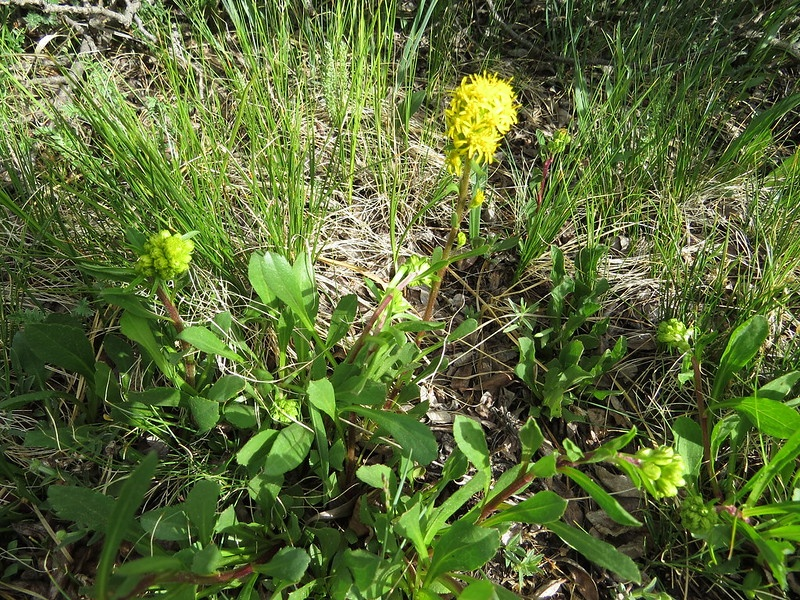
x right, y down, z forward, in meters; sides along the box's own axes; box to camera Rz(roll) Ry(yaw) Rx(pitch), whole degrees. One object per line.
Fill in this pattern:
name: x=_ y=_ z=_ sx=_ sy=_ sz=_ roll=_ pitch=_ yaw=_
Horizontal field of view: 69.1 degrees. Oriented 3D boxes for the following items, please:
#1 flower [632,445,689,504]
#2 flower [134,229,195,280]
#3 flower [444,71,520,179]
flower: x=0.685 y=0.470 z=1.556 sx=0.135 sy=0.159 sz=0.111 roll=-1 pitch=57 yaw=-4
flower: x=-0.701 y=-0.137 z=1.741 sx=0.137 sy=0.162 sz=0.138 roll=21 pitch=67 yaw=-40
flower: x=0.202 y=-0.475 z=1.729 sx=0.185 sy=0.292 sz=0.168 roll=-17 pitch=15 yaw=-39
